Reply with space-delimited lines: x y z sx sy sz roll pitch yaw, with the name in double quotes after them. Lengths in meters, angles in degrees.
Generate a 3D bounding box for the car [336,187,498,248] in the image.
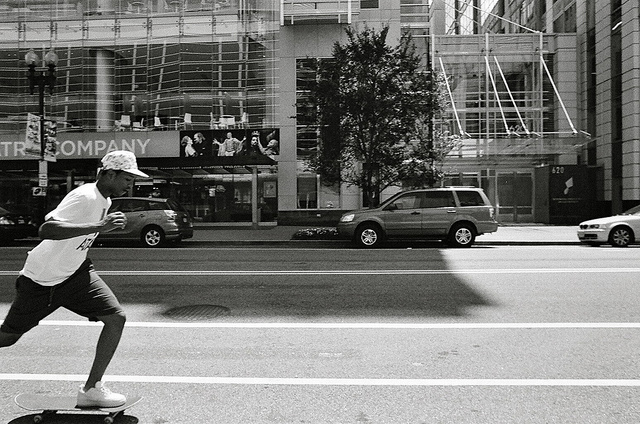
3.778 0.250 31.718 6.221 1.869 2.476 1 -4 2 "car"
